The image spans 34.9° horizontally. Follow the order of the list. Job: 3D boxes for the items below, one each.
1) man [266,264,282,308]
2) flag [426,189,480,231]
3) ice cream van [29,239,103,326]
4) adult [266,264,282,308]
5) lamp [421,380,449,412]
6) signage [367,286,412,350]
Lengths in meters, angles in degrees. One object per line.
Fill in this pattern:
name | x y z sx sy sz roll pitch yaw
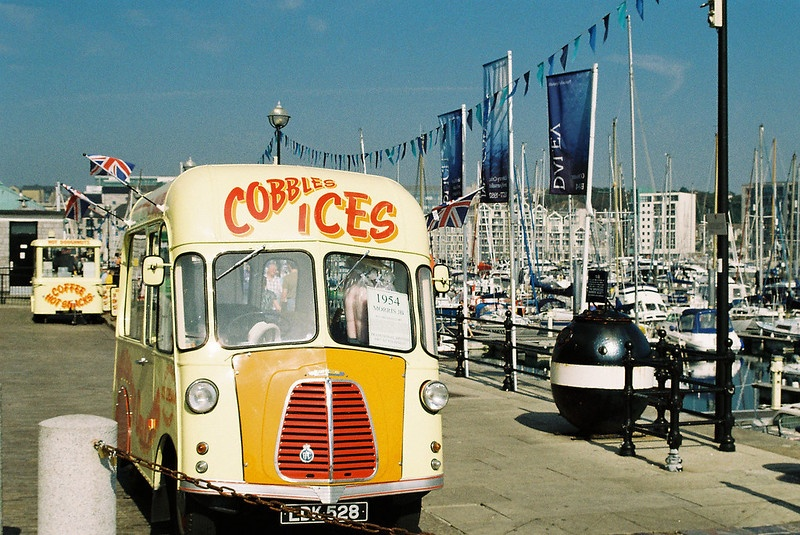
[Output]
man | -2.041 0.290 20.477 0.241 0.771 0.131 1 -2 -11
flag | 1.184 -1.354 30.566 1.219 1.416 0.128 -6 -44 18
ice cream van | -11.837 1.557 45.231 2.417 3.349 4.332 0 -32 -16
adult | -2.041 0.290 20.477 0.241 0.771 0.131 1 -2 -11
lamp | 0.539 2.104 20.574 0.426 0.499 0.176 -7 0 -17
signage | -0.210 0.868 20.687 0.878 1.055 0.073 8 -21 -26
